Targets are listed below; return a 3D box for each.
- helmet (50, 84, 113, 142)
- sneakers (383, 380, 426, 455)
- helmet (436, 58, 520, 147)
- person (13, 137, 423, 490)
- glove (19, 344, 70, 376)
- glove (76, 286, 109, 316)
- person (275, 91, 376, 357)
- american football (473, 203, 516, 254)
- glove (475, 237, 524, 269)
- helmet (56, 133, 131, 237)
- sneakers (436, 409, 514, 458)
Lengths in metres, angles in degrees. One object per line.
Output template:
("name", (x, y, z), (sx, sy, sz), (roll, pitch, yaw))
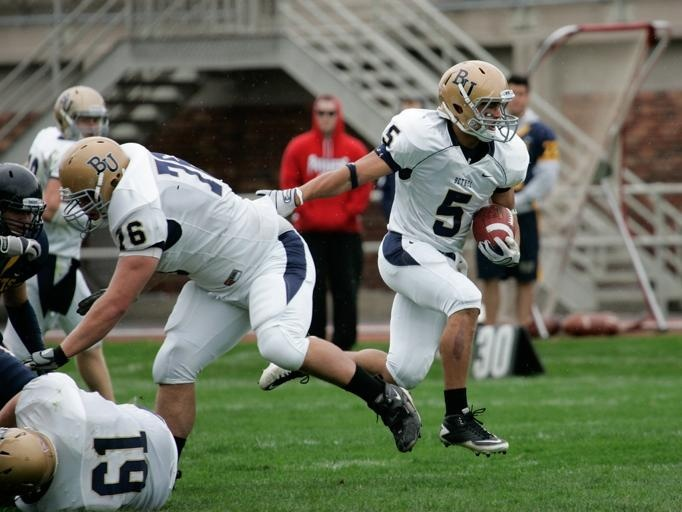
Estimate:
("helmet", (-1.616, -0.872, 7.163), (0.337, 0.335, 0.280), (11, 12, 35))
("sneakers", (0.289, 0.812, 5.793), (0.170, 0.399, 0.135), (-4, -23, -38))
("helmet", (0.687, -0.799, 5.901), (0.433, 0.400, 0.334), (22, 24, 36))
("person", (-0.618, 0.287, 5.705), (1.936, 1.614, 0.817), (-1, -1, 2))
("glove", (-1.339, 0.461, 5.355), (0.182, 0.090, 0.135), (-11, 5, 25))
("glove", (-1.228, 0.222, 5.719), (0.148, 0.065, 0.150), (-35, -5, 0))
("person", (-0.114, -0.177, 7.830), (0.566, 1.840, 0.548), (6, -13, -13))
("american football", (0.755, -0.167, 5.949), (0.197, 0.206, 0.233), (15, 23, 0))
("glove", (0.795, -0.014, 5.902), (0.175, 0.108, 0.137), (4, -7, -32))
("helmet", (-1.155, -0.366, 5.540), (0.379, 0.409, 0.308), (-22, 19, -27))
("sneakers", (0.654, 0.877, 5.853), (0.395, 0.219, 0.139), (5, 0, 42))
